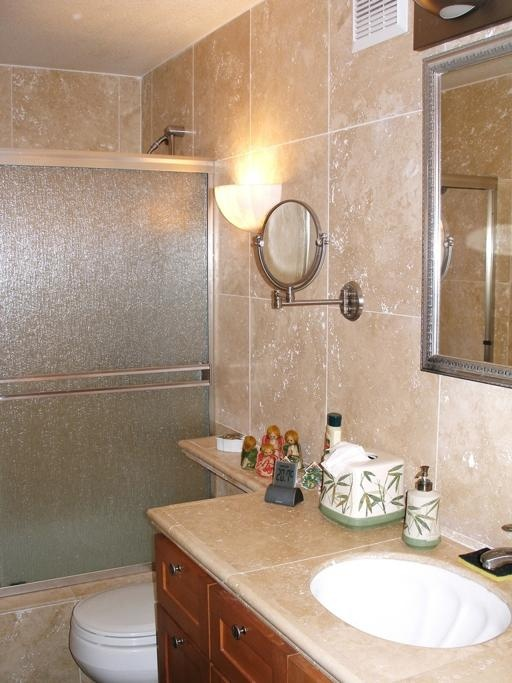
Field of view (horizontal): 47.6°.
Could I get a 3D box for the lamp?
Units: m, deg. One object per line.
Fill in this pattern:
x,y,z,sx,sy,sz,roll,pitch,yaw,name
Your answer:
-0.022,-0.412,1.791,0.168,0.154,0.177,-13,12,-3,lamp

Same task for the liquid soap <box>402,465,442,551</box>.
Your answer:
0.323,0.318,1.132,0.066,0.149,0.088,1,2,26,liquid soap
